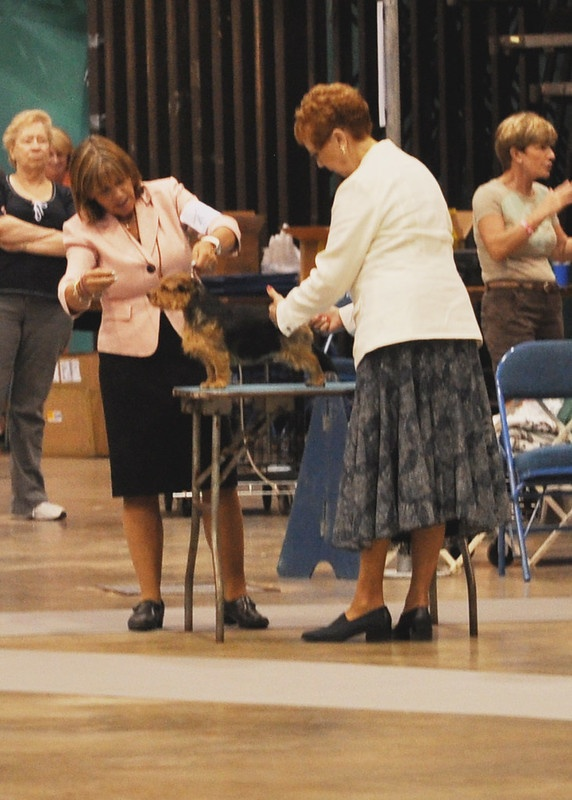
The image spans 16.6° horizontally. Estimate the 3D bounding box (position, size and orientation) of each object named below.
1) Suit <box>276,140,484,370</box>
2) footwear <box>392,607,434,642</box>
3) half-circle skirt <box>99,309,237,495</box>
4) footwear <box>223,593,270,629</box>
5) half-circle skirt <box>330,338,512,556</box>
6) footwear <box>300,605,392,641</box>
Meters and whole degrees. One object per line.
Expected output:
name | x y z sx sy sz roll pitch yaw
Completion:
Suit | 0.279 -0.387 5.789 0.452 0.828 0.540 -1 -2 -43
footwear | 0.379 0.658 5.746 0.051 0.091 0.169 1 -5 -13
half-circle skirt | -0.372 -0.045 5.960 0.360 1.008 0.463 -2 2 -8
footwear | -0.125 0.640 5.980 0.061 0.109 0.182 -1 -3 -35
half-circle skirt | 0.338 0.078 5.804 0.477 0.842 0.472 -2 -1 -13
footwear | 0.184 0.630 5.813 0.268 0.176 0.109 -5 -5 13
